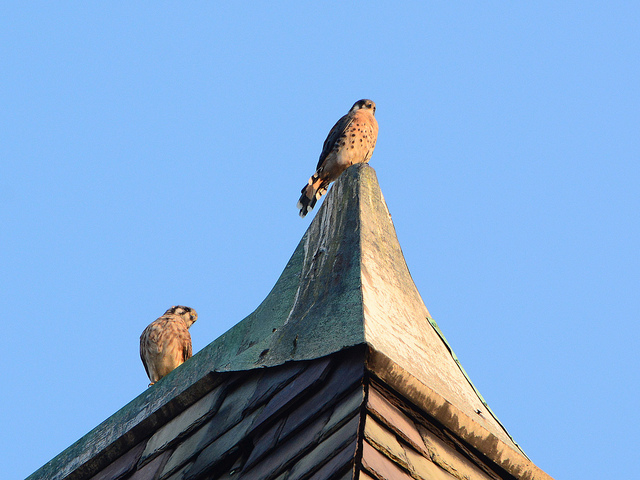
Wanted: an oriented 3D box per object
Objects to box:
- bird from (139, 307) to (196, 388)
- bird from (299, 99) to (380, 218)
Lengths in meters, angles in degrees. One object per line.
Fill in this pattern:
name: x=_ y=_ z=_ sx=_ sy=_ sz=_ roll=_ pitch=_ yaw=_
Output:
bird: x=-1.320 y=0.868 z=12.012 sx=0.434 sy=0.859 sz=0.443 roll=7 pitch=-52 yaw=3
bird: x=0.246 y=-0.698 z=12.584 sx=0.896 sy=1.223 sz=0.465 roll=-26 pitch=-56 yaw=17
